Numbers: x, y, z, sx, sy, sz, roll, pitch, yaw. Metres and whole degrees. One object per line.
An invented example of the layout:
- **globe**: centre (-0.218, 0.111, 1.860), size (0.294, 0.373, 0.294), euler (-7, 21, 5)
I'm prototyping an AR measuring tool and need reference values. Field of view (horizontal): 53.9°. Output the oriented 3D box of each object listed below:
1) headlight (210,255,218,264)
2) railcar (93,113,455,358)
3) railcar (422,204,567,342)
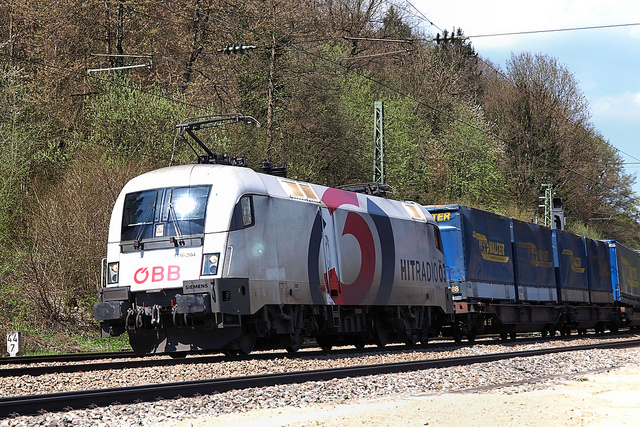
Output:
- **headlight**: centre (-2.914, 1.272, 17.301), size (0.197, 0.225, 0.049), euler (2, -2, -6)
- **railcar**: centre (-0.497, 0.969, 21.739), size (13.956, 7.568, 3.682), euler (5, -6, -44)
- **railcar**: centre (8.172, 2.892, 29.083), size (9.463, 5.505, 3.152), euler (9, -15, -43)
